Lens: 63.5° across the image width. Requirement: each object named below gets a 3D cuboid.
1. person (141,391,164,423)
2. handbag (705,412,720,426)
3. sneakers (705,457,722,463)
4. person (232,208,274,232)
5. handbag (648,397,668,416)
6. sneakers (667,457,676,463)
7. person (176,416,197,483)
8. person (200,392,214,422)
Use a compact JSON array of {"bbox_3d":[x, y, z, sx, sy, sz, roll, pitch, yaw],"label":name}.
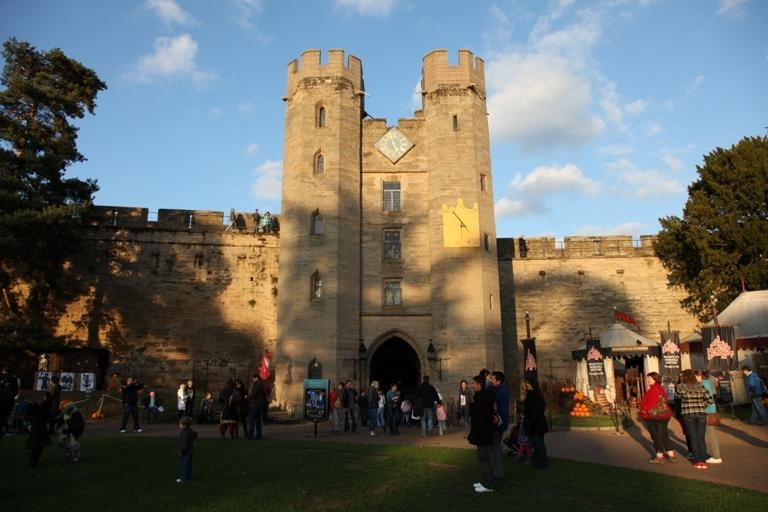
[{"bbox_3d":[-10.687,6.952,28.596,0.786,1.391,1.047,4,-18,-19],"label":"person"},{"bbox_3d":[9.877,4.933,18.562,0.444,0.373,0.533,2,-4,19],"label":"handbag"},{"bbox_3d":[9.891,6.124,18.635,0.566,0.202,0.207,0,-18,1],"label":"sneakers"},{"bbox_3d":[-7.906,-2.130,38.054,2.873,1.345,0.850,3,-18,-16],"label":"person"},{"bbox_3d":[8.205,4.584,18.815,0.674,0.613,0.381,-2,-3,1],"label":"handbag"},{"bbox_3d":[8.824,6.201,18.953,0.214,0.129,0.127,0,-8,-30],"label":"sneakers"},{"bbox_3d":[-5.717,5.561,17.899,0.450,1.815,1.002,3,-18,-16],"label":"person"},{"bbox_3d":[-8.133,6.947,28.433,0.494,1.300,0.721,3,-18,-16],"label":"person"}]
